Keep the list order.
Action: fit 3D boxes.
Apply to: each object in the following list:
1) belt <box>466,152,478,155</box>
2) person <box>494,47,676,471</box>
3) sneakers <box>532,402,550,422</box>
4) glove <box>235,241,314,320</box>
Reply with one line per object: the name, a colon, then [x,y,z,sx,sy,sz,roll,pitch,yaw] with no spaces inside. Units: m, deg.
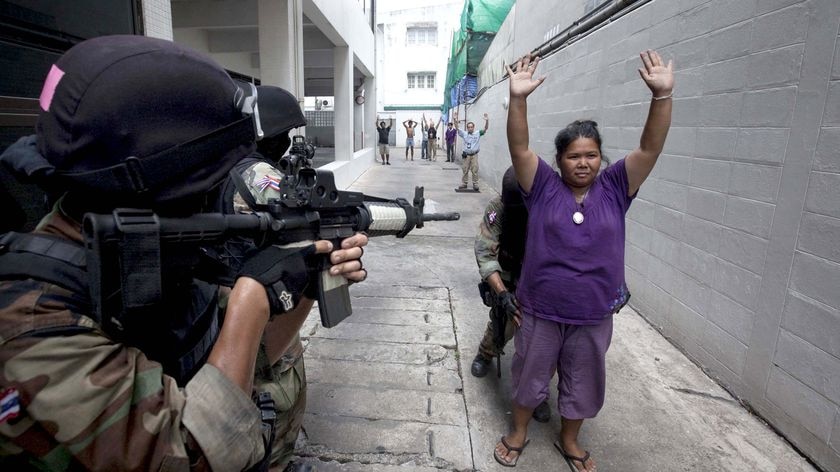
belt: [1.440,-2.295,12.653,0.312,0.121,0.087,-6,16,-33]
person: [1.059,0.207,3.206,1.084,2.941,0.646,5,14,8]
sneakers: [0.986,1.436,3.662,0.124,0.073,0.196,3,8,10]
glove: [-0.746,0.208,2.517,0.588,0.359,0.231,18,1,27]
